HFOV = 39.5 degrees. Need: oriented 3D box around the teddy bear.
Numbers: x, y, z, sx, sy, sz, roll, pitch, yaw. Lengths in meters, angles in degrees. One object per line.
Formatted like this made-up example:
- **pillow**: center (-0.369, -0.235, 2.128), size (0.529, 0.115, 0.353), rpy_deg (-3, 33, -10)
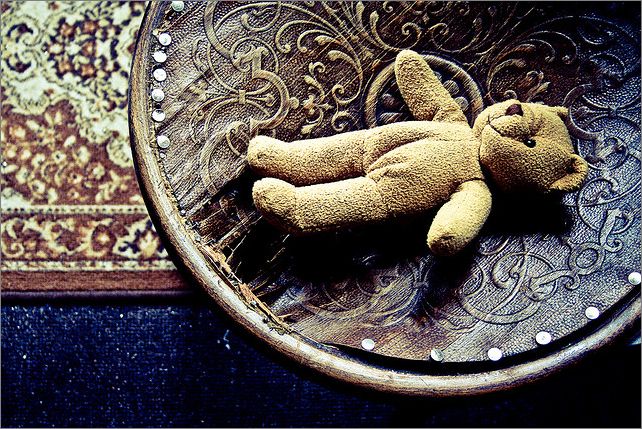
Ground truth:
- **teddy bear**: center (0.238, -0.123, 2.249), size (0.782, 0.280, 0.619), rpy_deg (-7, 44, -1)
